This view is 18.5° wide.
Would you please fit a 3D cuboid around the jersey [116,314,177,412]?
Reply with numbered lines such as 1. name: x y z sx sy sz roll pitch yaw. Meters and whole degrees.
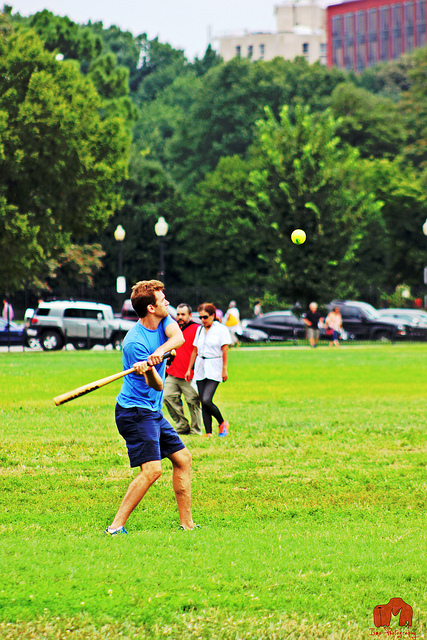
1. jersey: -0.620 0.378 11.332 0.403 0.931 0.473 -8 11 -41

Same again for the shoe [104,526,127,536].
1. shoe: -0.837 1.792 11.148 0.182 0.091 0.072 2 -5 -1

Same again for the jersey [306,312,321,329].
1. jersey: 2.347 0.031 30.920 0.307 0.447 0.679 1 6 5

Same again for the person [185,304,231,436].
1. person: -0.076 0.588 15.559 0.384 1.444 0.643 0 0 41

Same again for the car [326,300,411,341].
1. car: 4.178 0.227 34.256 1.773 1.020 2.094 -9 12 -31

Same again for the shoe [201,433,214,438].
1. shoe: -0.073 1.359 15.416 0.150 0.043 0.150 1 6 3

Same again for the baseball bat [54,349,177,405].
1. baseball bat: -0.937 0.512 11.170 0.977 0.170 0.159 -21 -2 -22

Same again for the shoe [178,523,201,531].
1. shoe: -0.209 1.806 11.488 0.185 0.091 0.068 -2 12 -8

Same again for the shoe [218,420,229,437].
1. shoe: 0.115 1.292 15.441 0.064 0.220 0.093 -1 -14 28

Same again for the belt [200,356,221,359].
1. belt: -0.033 0.444 15.359 0.228 0.031 0.036 0 6 -3

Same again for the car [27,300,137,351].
1. car: -3.256 0.215 33.363 2.752 1.412 1.562 1 2 1
